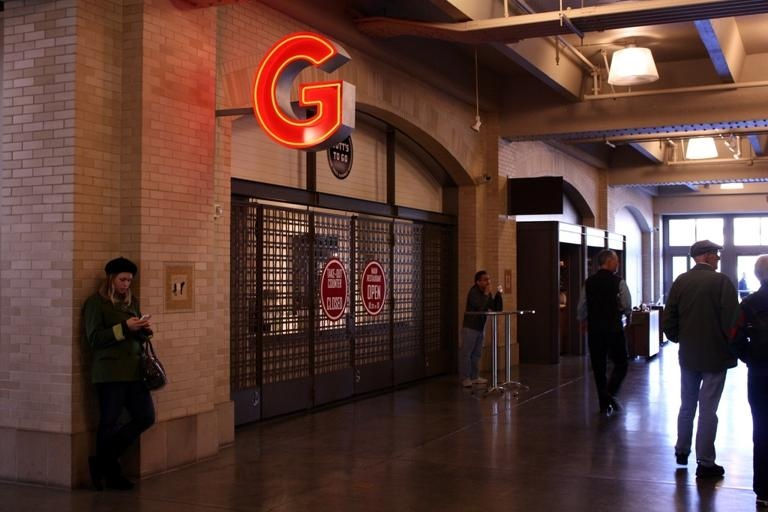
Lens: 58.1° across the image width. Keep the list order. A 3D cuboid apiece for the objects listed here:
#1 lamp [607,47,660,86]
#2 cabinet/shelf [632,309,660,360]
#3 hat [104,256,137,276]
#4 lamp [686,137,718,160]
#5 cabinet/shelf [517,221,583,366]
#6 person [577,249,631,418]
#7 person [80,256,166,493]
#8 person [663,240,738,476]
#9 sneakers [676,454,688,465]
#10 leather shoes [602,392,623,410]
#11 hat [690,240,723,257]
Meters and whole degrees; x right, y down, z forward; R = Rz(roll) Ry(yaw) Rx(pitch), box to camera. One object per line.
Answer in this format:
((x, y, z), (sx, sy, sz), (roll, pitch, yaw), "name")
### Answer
((3.967, -2.917, 10.843), (0.655, 0.477, 0.639), (0, -2, -40), "lamp")
((6.190, 1.885, 16.427), (0.816, 1.411, 1.539), (-1, -3, 21), "cabinet/shelf")
((-2.844, 0.129, 7.430), (0.224, 0.156, 0.230), (-6, -10, 36), "hat")
((7.439, -2.479, 16.051), (0.674, 0.435, 0.677), (-3, 3, -4), "lamp")
((3.917, 0.830, 16.183), (0.862, 3.186, 2.566), (-2, -3, 33), "cabinet/shelf")
((3.341, 1.135, 10.478), (0.750, 2.431, 0.452), (-1, -3, 16), "person")
((-2.816, 1.254, 7.433), (0.812, 2.439, 0.486), (-1, -3, 16), "person")
((3.520, 1.121, 7.678), (0.762, 2.587, 0.460), (-2, -3, 27), "person")
((3.359, 2.300, 7.803), (0.119, 0.123, 0.129), (0, 1, 7), "sneakers")
((3.386, 2.197, 10.400), (0.300, 0.301, 0.239), (0, -2, -24), "leather shoes")
((3.706, -0.094, 7.943), (0.308, 0.130, 0.225), (-6, 3, -15), "hat")
